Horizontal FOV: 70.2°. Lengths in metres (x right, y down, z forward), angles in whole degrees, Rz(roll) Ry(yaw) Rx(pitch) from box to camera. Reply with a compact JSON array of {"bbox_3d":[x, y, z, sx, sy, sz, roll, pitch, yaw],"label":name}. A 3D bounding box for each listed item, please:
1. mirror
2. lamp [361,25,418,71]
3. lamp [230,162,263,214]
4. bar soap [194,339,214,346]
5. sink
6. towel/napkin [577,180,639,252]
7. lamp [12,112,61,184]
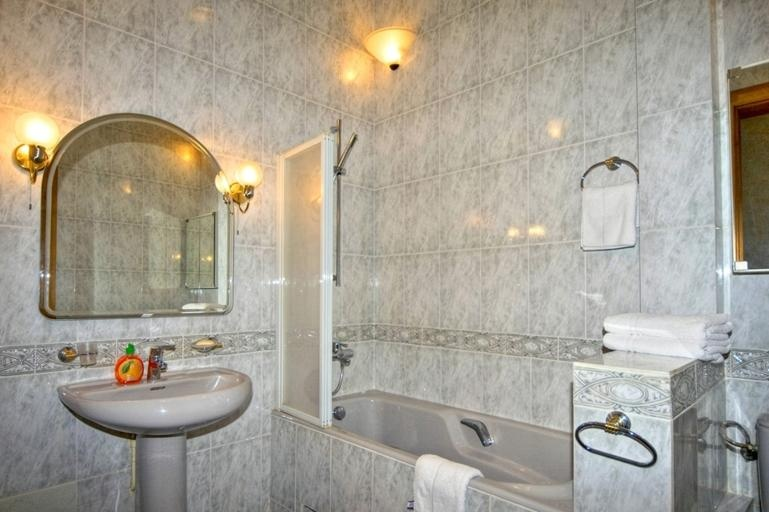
[{"bbox_3d":[-1.535,-0.235,3.317,1.230,1.559,0.066,2,-2,-40],"label":"mirror"},{"bbox_3d":[0.067,-1.530,4.146,0.369,0.237,0.431,-2,-4,18],"label":"lamp"},{"bbox_3d":[-0.928,-0.457,3.655,0.185,0.327,0.101,-2,-3,20],"label":"lamp"},{"bbox_3d":[-1.147,0.551,3.506,0.083,0.029,0.044,3,-4,-31],"label":"bar soap"},{"bbox_3d":[-1.264,0.833,3.087,0.969,0.294,0.579,2,-5,-32],"label":"sink"},{"bbox_3d":[1.316,-0.237,3.214,0.066,0.504,0.393,3,0,-45],"label":"towel/napkin"},{"bbox_3d":[-1.936,-0.597,3.038,0.229,0.371,0.121,0,-3,-19],"label":"lamp"}]
